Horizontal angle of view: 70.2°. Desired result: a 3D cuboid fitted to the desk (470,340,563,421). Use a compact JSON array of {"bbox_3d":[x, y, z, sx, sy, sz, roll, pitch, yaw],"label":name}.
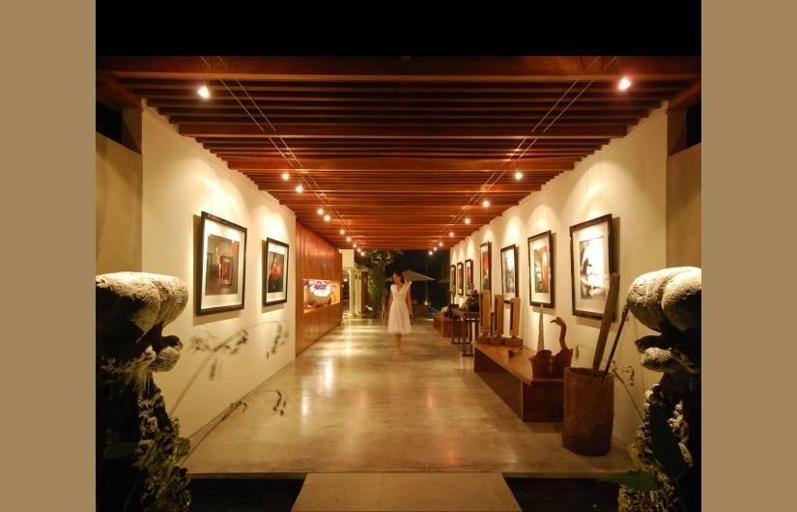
[{"bbox_3d":[1.434,1.496,7.405,0.699,0.687,2.628,1,4,0],"label":"desk"}]
